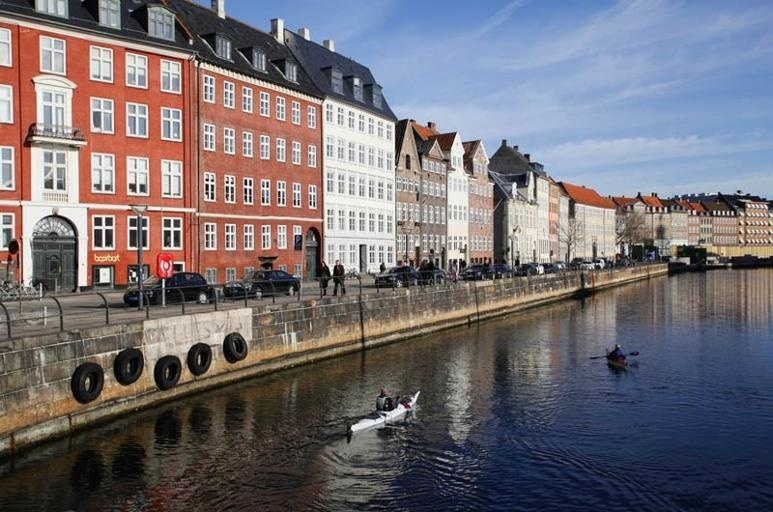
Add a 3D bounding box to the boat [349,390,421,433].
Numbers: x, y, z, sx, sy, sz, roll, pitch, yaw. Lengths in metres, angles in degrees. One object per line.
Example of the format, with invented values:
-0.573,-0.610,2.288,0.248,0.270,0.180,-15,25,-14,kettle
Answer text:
-0.087,6.757,37.219,1.152,0.921,4.300,14,19,41,boat
